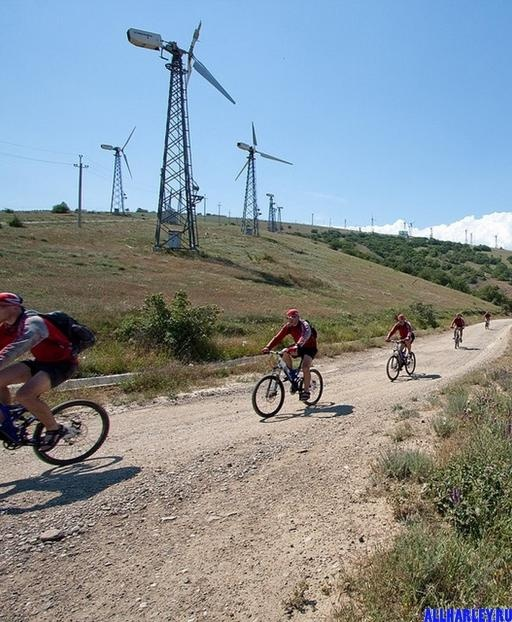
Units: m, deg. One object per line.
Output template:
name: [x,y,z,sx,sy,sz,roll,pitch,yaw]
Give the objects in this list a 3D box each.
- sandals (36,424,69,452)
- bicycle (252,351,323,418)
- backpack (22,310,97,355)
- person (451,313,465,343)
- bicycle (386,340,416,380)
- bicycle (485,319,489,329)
sandals: [-2.386,1.517,5.575,0.165,0.416,0.150,23,22,-43]
bicycle: [0.397,1.592,9.497,0.817,1.069,1.761,-9,-11,37]
backpack: [-2.336,0.250,5.645,0.620,0.593,0.398,-31,29,-27]
person: [10.812,0.927,25.354,0.499,1.625,3.106,2,2,23]
bicycle: [4.195,1.516,14.230,0.706,0.920,1.550,-4,-5,32]
bicycle: [21.610,1.251,44.294,0.283,0.816,0.957,2,2,32]
